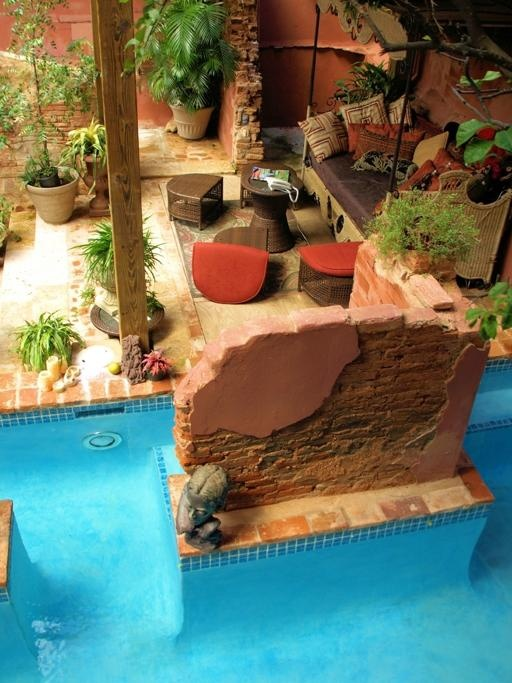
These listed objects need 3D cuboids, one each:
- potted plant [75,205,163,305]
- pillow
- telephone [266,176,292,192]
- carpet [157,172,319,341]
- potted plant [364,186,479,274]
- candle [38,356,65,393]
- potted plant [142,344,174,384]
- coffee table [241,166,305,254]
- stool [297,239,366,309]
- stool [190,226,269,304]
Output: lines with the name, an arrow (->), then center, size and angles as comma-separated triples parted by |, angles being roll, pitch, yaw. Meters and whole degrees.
potted plant -> -1.546, -0.980, 5.563 | 1.005, 1.174, 0.934 | 14, 29, 12
pillow -> 1.641, -2.959, 7.366 | 2.012, 0.569, 1.584 | 8, 60, 8
telephone -> 0.287, -1.976, 6.472 | 0.271, 0.061, 0.208 | -1, 25, -27
carpet -> 0.177, -0.288, 6.692 | 2.162, 0.069, 3.838 | -9, 40, -16
potted plant -> 1.183, -0.799, 3.669 | 0.741, 0.448, 0.705 | 5, 59, 13
candle -> -1.763, 0.287, 4.399 | 0.213, 0.177, 0.204 | 19, 52, 6
potted plant -> -0.864, 0.213, 4.573 | 0.268, 0.245, 0.254 | 6, 49, 0
coffee table -> 0.164, -1.770, 6.922 | 0.740, 0.852, 1.231 | -2, 34, -5
stool -> 0.910, -0.741, 5.779 | 0.770, 0.792, 0.763 | -12, 32, -27
stool -> -0.310, -0.849, 5.791 | 0.775, 0.671, 0.719 | 2, 25, -4
